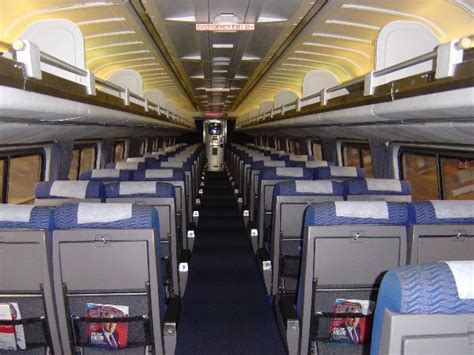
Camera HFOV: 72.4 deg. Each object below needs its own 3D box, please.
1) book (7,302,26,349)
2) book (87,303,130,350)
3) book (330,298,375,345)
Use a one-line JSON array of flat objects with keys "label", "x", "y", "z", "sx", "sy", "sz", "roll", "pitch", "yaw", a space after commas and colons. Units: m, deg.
[{"label": "book", "x": -2.115, "y": 1.425, "z": 3.119, "sx": 0.368, "sy": 0.350, "sz": 0.087, "roll": -5, "pitch": 0, "yaw": 38}, {"label": "book", "x": -1.262, "y": 1.433, "z": 3.161, "sx": 0.485, "sy": 0.462, "sz": 0.051, "roll": 0, "pitch": 2, "yaw": -3}, {"label": "book", "x": 1.131, "y": 1.446, "z": 3.292, "sx": 0.481, "sy": 0.443, "sz": 0.106, "roll": 13, "pitch": -7, "yaw": -12}]
